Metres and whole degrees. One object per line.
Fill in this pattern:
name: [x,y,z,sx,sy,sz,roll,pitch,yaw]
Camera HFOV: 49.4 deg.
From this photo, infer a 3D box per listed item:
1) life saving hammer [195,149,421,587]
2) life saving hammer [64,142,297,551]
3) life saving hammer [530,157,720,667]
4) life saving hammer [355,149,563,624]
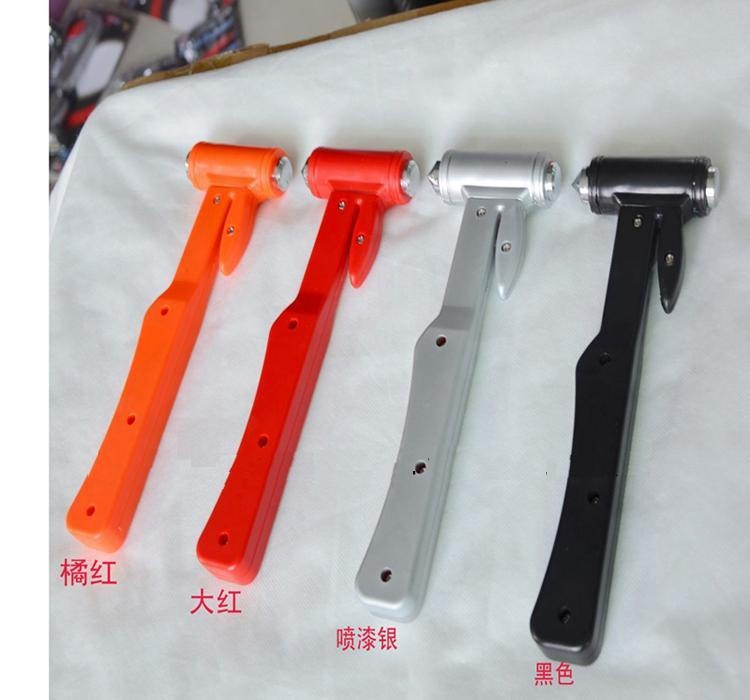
life saving hammer: [-0.063,-0.001,1.098,0.184,0.080,0.642,5,69,28]
life saving hammer: [-0.247,0.011,1.197,0.185,0.083,0.653,7,69,24]
life saving hammer: [0.260,0.015,0.869,0.166,0.073,0.630,4,69,26]
life saving hammer: [0.109,0.011,0.983,0.176,0.066,0.627,6,69,26]
